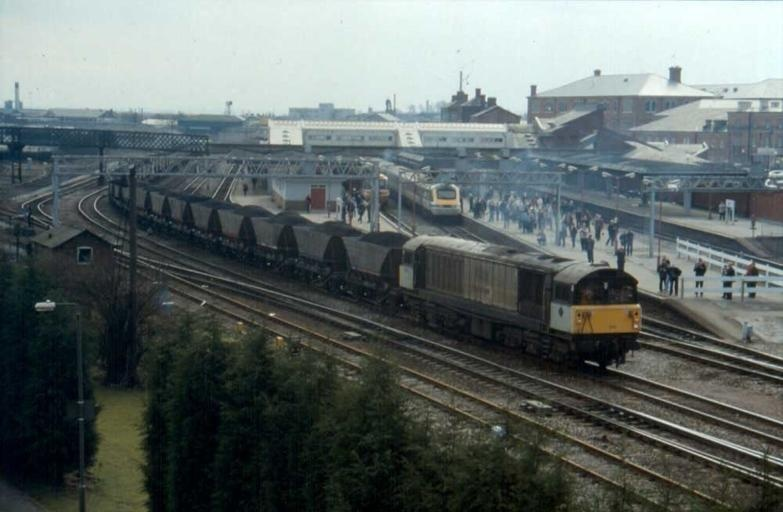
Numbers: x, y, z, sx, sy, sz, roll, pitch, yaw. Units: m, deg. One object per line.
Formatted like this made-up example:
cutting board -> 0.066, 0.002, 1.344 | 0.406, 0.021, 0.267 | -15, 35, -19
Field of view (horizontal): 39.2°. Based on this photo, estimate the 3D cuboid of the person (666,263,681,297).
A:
person -> 15.275, 1.337, 59.131 | 0.685, 1.507, 0.672 | 5, 12, 21
